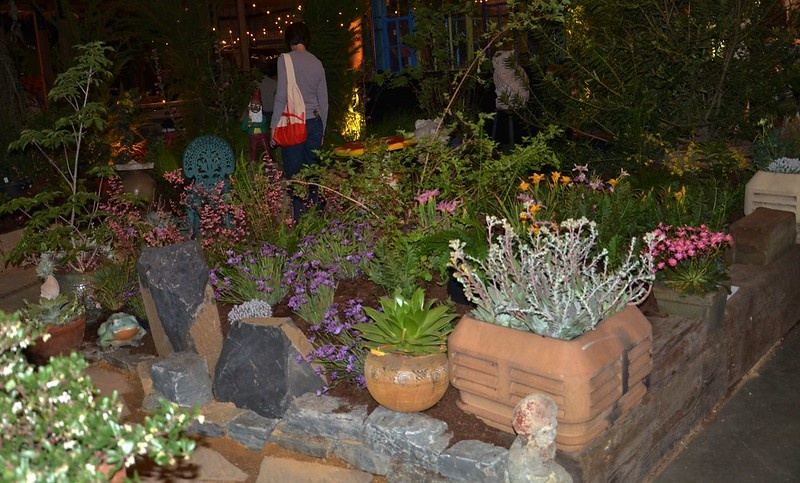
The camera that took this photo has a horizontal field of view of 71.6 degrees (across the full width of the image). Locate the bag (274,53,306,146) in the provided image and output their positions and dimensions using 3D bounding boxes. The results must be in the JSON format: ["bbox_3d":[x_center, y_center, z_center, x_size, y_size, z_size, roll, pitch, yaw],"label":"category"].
[{"bbox_3d":[-1.272,-1.650,6.650,0.309,1.146,0.344,3,-1,-37],"label":"bag"}]

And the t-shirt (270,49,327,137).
[{"bbox_3d":[-1.206,-1.852,6.799,0.466,1.226,0.683,2,0,-39],"label":"t-shirt"}]

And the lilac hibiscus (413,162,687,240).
[{"bbox_3d":[1.674,-0.381,5.179,2.294,0.589,1.534,2,22,1],"label":"lilac hibiscus"}]

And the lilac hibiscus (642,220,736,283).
[{"bbox_3d":[2.344,0.129,4.480,0.557,0.485,0.550,12,25,26],"label":"lilac hibiscus"}]
